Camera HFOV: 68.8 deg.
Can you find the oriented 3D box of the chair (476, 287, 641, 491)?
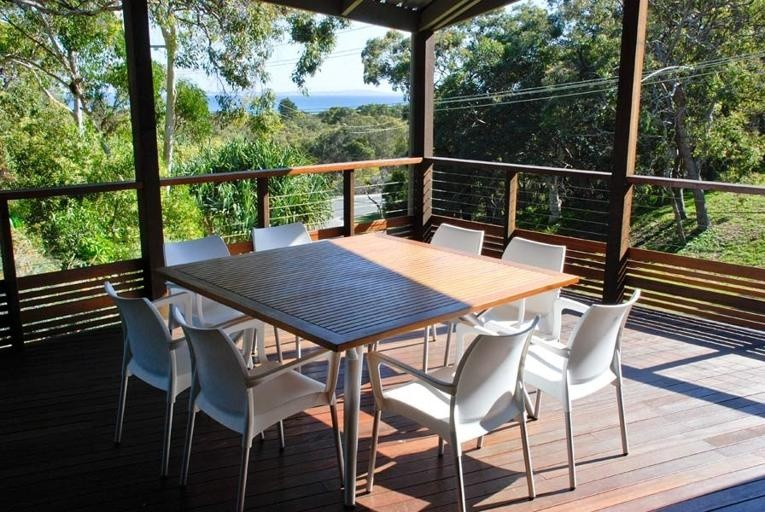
[{"bbox_3d":[1.241,0.841,3.964,0.836,1.257,0.969,-6,13,-19],"label":"chair"}]
